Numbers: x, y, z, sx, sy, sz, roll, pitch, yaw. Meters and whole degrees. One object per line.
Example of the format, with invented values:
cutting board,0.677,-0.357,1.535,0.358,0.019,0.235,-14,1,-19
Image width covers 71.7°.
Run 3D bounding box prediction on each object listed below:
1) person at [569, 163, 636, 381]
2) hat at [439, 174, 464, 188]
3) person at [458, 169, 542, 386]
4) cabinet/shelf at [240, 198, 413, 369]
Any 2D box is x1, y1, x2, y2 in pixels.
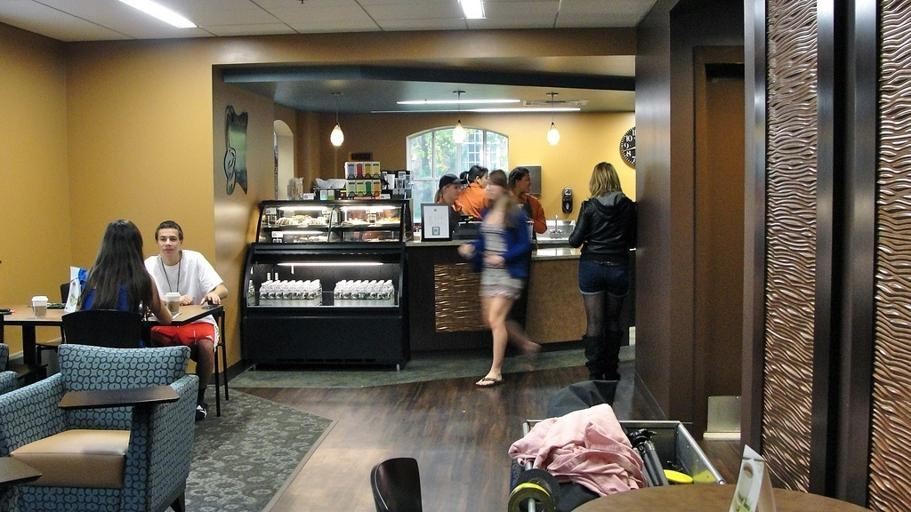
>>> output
person,1.629,0.243,7.021,0.685,2.487,0.736,15,21,42
hat,-0.097,-1.124,9.470,0.454,0.195,0.294,-5,4,-1
person,0.491,0.248,7.250,0.759,2.473,0.986,2,16,6
cabinet/shelf,-1.606,0.407,7.915,2.598,2.043,1.278,0,1,0
